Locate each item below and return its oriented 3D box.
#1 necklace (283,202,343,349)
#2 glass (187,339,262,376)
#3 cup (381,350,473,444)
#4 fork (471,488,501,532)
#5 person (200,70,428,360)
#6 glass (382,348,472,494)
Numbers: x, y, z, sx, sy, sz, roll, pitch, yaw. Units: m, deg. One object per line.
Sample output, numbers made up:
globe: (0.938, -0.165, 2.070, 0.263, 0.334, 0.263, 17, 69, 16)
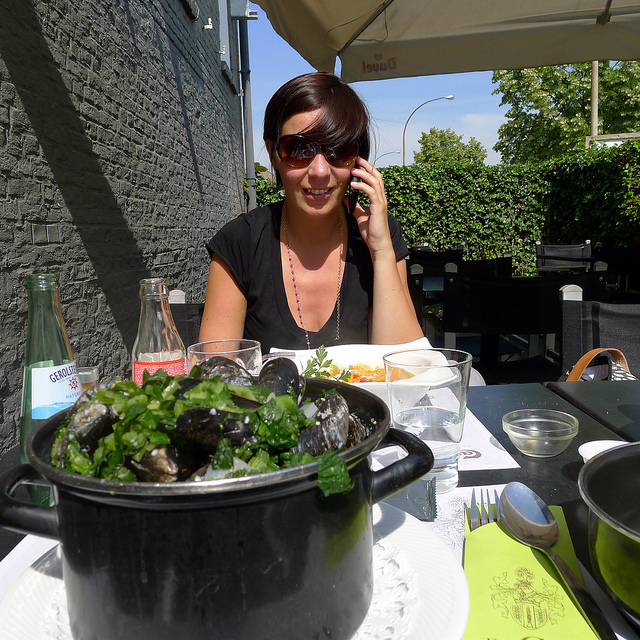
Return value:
necklace: (-0.046, -0.255, 2.288, 0.313, 0.587, 0.430, 6, 3, -11)
glass: (-0.189, 0.040, 0.946, 0.130, 0.096, 0.127, 7, 10, 37)
cup: (0.243, 0.187, 1.002, 0.173, 0.251, 0.202, -4, 6, 0)
fork: (0.277, 0.307, 0.754, 0.043, 0.061, 0.139, 8, 2, 20)
person: (-0.068, -0.375, 2.268, 0.976, 1.644, 0.782, -1, 4, -16)
glass: (0.188, 0.159, 0.929, 0.166, 0.300, 0.210, -2, 8, -1)
